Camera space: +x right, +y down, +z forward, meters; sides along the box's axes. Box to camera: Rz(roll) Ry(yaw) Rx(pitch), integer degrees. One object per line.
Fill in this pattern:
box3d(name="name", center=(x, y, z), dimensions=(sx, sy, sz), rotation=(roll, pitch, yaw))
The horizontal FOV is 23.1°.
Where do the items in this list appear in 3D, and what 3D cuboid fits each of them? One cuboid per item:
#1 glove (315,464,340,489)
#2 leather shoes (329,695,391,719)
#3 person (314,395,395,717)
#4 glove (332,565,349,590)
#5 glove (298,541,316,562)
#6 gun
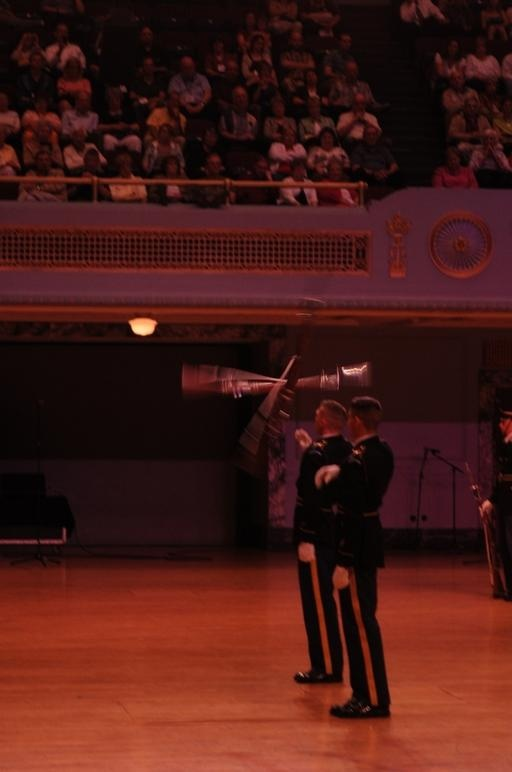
box3d(name="glove", center=(0.395, 0.480, 6.718), dimensions=(0.144, 0.118, 0.129), rotation=(-9, 10, 10))
box3d(name="leather shoes", center=(0.554, 1.678, 6.577), dimensions=(0.295, 0.137, 0.116), rotation=(5, -6, -3))
box3d(name="person", center=(0.553, 0.902, 6.574), dimensions=(0.343, 1.670, 0.318), rotation=(-1, 4, 6))
box3d(name="glove", center=(0.451, 0.999, 6.529), dimensions=(0.077, 0.121, 0.114), rotation=(0, 9, 3))
box3d(name="glove", center=(0.297, 0.945, 7.144), dimensions=(0.095, 0.102, 0.100), rotation=(-3, 1, 37))
box3d(name="gun", center=(2.033, 1.329, 11.027), dimensions=(0.171, 1.463, 0.124), rotation=(-8, 43, 6))
